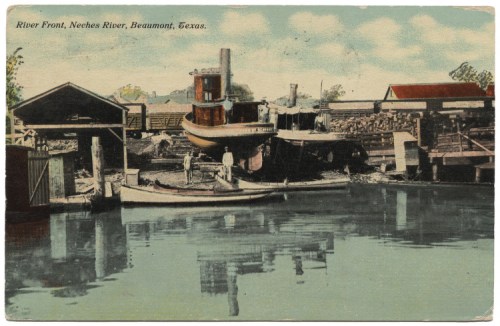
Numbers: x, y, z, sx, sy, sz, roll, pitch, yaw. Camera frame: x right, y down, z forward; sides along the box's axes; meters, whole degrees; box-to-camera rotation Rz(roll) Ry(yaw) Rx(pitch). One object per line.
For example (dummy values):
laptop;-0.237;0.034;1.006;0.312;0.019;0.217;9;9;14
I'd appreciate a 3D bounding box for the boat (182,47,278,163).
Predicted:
boat;-0.944;-1.807;37.717;3.294;3.405;2.117;0;-1;-4

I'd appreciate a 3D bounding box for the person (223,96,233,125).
person;-0.811;-2.056;38.296;0.385;1.011;0.497;0;-1;-1

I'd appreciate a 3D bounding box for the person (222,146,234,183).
person;-0.839;0.049;38.267;0.444;1.356;0.233;0;-1;-2

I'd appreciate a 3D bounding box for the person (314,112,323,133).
person;2.769;-1.576;38.363;0.348;0.666;0.356;0;-1;3

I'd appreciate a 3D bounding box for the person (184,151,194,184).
person;-2.365;0.191;37.766;0.361;1.238;0.188;0;-1;-4
